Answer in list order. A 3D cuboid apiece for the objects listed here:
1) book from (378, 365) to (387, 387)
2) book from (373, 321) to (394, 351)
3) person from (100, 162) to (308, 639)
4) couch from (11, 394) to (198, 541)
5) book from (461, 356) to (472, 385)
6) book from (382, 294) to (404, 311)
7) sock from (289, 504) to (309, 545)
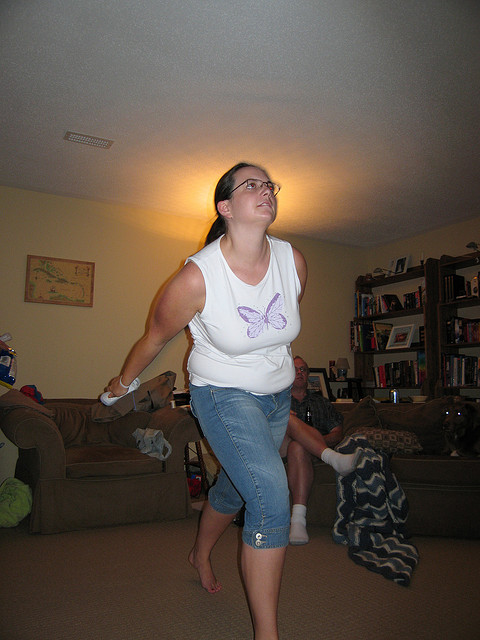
[{"bbox_3d":[1.567,0.631,5.502,0.096,0.227,0.257,-1,-3,5],"label":"book"},{"bbox_3d":[1.592,0.196,5.559,0.361,0.409,0.048,4,-6,-10],"label":"book"},{"bbox_3d":[-0.063,0.134,1.308,0.431,1.152,0.343,-4,-11,20],"label":"person"},{"bbox_3d":[-0.868,0.850,3.099,1.092,0.580,0.834,4,-4,-19],"label":"couch"},{"bbox_3d":[2.081,0.481,4.606,0.095,0.261,0.045,-5,-11,21],"label":"book"},{"bbox_3d":[1.667,-0.190,5.448,0.193,0.167,0.042,8,-32,-39],"label":"book"},{"bbox_3d":[0.269,0.959,2.328,0.078,0.172,0.168,-2,-10,7],"label":"sock"}]
